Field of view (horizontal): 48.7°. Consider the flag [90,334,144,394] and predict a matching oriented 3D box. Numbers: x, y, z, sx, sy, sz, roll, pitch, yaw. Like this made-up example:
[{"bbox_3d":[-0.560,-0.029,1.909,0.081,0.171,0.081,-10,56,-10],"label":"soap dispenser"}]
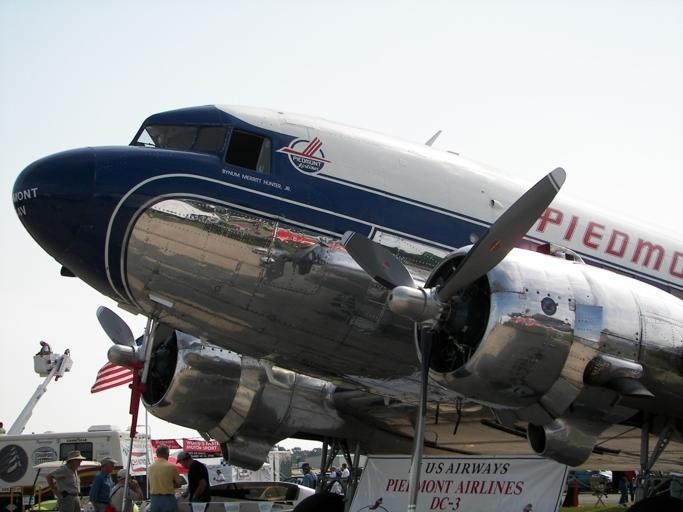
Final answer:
[{"bbox_3d":[-4.017,2.090,13.476,1.020,0.709,0.070,-24,-50,13],"label":"flag"}]
